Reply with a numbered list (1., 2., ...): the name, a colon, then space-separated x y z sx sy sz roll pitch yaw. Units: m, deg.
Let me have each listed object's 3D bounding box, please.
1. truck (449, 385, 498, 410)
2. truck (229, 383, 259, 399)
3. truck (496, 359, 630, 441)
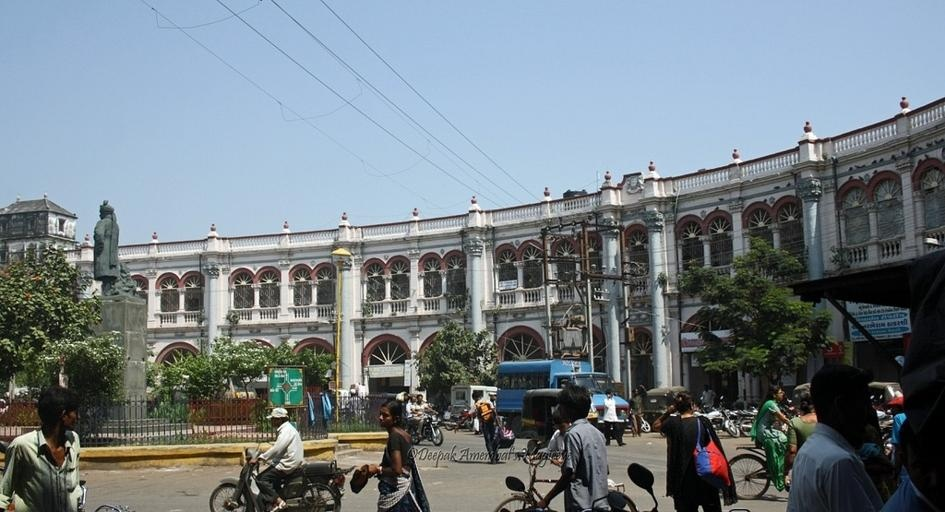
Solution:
1. truck: -0.026 7.869 74.432 2.236 1.168 1.442 0 -7 3
2. truck: -12.210 7.161 70.810 2.536 0.797 1.823 -1 -5 -3
3. truck: 4.275 7.278 67.456 3.613 3.577 7.152 10 -9 -38
